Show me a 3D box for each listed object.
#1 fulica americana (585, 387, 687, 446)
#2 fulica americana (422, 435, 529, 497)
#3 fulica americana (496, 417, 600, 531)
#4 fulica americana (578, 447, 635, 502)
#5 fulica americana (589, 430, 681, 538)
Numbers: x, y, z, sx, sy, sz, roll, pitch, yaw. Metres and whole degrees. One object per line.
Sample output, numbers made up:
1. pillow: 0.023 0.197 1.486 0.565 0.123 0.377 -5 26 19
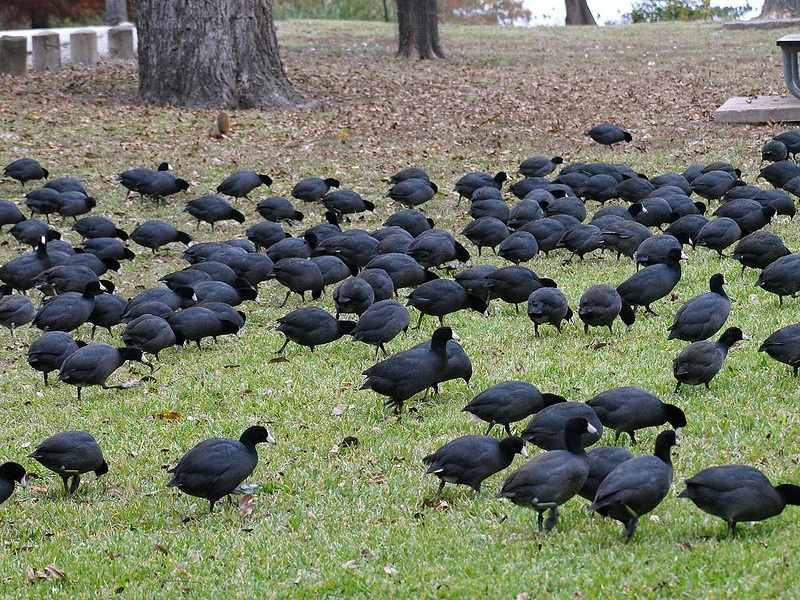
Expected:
1. fulica americana: 3.887 1.898 21.159 1.570 0.769 1.751 1 9 -4
2. fulica americana: 1.244 2.697 20.499 1.581 0.704 2.103 -4 8 -15
3. fulica americana: 2.357 2.679 19.767 2.222 2.007 1.097 -2 2 -14
4. fulica americana: 3.238 2.634 20.317 1.091 0.676 0.589 -33 30 -25
5. fulica americana: 3.572 3.059 19.664 1.356 1.218 0.476 -7 11 -22
